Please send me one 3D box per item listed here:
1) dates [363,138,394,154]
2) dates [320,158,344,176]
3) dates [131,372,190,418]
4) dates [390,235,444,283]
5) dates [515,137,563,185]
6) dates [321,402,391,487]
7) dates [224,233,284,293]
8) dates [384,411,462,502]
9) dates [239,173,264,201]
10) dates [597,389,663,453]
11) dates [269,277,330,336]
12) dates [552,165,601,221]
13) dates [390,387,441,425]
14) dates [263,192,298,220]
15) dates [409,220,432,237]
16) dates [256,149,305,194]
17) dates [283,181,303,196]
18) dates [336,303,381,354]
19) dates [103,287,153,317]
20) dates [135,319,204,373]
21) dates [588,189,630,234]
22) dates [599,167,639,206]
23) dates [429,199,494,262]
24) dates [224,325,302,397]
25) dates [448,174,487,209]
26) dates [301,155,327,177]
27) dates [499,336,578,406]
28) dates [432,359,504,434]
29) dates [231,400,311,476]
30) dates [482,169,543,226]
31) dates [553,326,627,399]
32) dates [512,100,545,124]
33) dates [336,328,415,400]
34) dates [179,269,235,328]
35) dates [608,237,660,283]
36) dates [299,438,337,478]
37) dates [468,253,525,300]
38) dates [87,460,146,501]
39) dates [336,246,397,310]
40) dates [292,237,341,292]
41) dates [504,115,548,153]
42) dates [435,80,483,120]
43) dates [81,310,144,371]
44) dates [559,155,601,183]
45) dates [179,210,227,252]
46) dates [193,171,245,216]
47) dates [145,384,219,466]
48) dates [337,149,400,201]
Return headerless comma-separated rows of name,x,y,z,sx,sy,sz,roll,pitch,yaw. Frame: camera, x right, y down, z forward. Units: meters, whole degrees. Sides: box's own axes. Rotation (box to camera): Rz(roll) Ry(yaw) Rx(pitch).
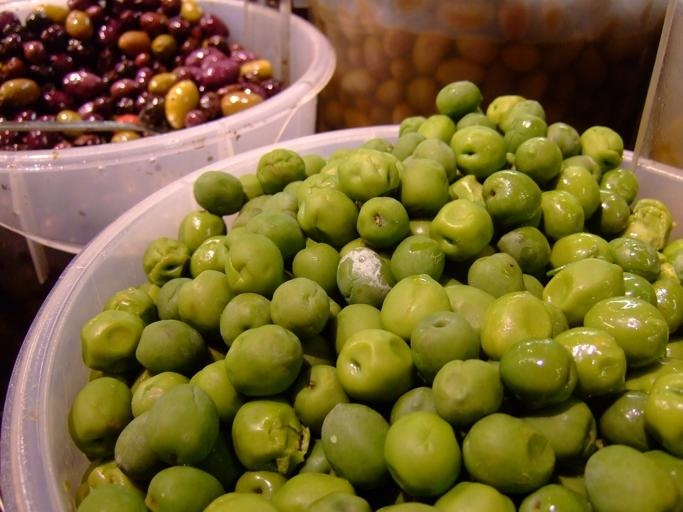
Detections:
dates,0.104,-0.316,1.866,0.050,0.046,0.072,1,0,30
dates,-0.027,-0.247,1.809,0.054,0.030,0.060,-17,29,30
dates,-0.425,0.304,1.502,0.097,0.118,0.103,-26,25,-21
dates,0.188,-0.010,1.583,0.095,0.135,0.107,10,32,42
dates,0.539,-0.274,1.785,0.109,0.137,0.109,18,36,29
dates,0.046,0.412,1.395,0.112,0.138,0.165,3,23,-8
dates,-0.203,0.036,1.537,0.115,0.132,0.186,-6,84,24
dates,0.176,0.428,1.353,0.149,0.179,0.153,-12,35,-12
dates,-0.263,-0.202,1.866,0.061,0.088,0.067,-17,0,5
dates,0.610,0.358,1.376,0.096,0.104,0.112,-16,75,3
dates,-0.092,0.117,1.509,0.113,0.128,0.131,-2,72,6
dates,0.663,-0.186,1.833,0.118,0.167,0.125,-7,5,35
dates,0.150,0.321,1.377,0.069,0.091,0.085,-4,74,24
dates,-0.162,-0.142,1.729,0.063,0.044,0.077,-1,36,10
dates,0.203,-0.072,1.652,0.037,0.042,0.040,-6,-4,30
dates,-0.171,-0.242,1.884,0.113,0.118,0.129,14,69,46
dates,-0.135,-0.187,1.790,0.048,0.030,0.042,-19,19,-8
dates,0.030,0.158,1.495,0.091,0.131,0.100,4,2,33
dates,-0.535,0.103,1.621,0.074,0.054,0.081,22,35,17
dates,-0.397,0.214,1.486,0.128,0.112,0.116,4,63,-8
dates,0.754,-0.103,1.796,0.066,0.137,0.090,6,-10,-39
dates,0.817,-0.208,1.928,0.090,0.127,0.098,-14,-2,-36
dates,0.292,-0.041,1.614,0.131,0.141,0.152,1,76,-36
dates,-0.178,0.240,1.488,0.155,0.195,0.231,-3,13,-1
dates,0.342,-0.176,1.732,0.077,0.046,0.085,-24,54,-19
dates,-0.082,-0.270,1.905,0.061,0.066,0.068,11,48,27
dates,0.408,0.237,1.375,0.111,0.131,0.142,-6,23,-41
dates,0.263,0.295,1.373,0.128,0.160,0.142,-2,84,-4
dates,-0.154,0.387,1.444,0.131,0.175,0.155,-3,4,9
dates,0.438,-0.140,1.692,0.134,0.158,0.133,-29,67,19
dates,0.563,0.240,1.440,0.138,0.157,0.187,-19,-3,24
dates,0.578,-0.428,1.952,0.068,0.081,0.084,3,34,17
dates,0.074,0.241,1.415,0.167,0.105,0.120,-1,48,2
dates,-0.323,0.107,1.529,0.115,0.137,0.115,-17,-2,27
dates,0.768,0.003,1.715,0.123,0.077,0.097,36,45,28
dates,-0.052,0.439,1.399,0.053,0.063,0.061,-8,11,24
dates,0.373,0.051,1.593,0.103,0.104,0.114,-39,94,-39
dates,-0.511,0.492,1.460,0.079,0.101,0.087,-16,22,6
dates,0.054,0.053,1.543,0.100,0.086,0.159,-1,71,-7
dates,-0.058,0.030,1.619,0.101,0.136,0.111,-24,17,-8
dates,0.520,-0.349,1.840,0.094,0.057,0.120,-10,58,46
dates,0.367,-0.474,1.987,0.118,0.106,0.104,-12,36,4
dates,-0.550,0.200,1.576,0.145,0.111,0.119,-31,83,-36
dates,0.693,-0.249,1.856,0.093,0.070,0.076,3,3,-17
dates,-0.387,-0.074,1.822,0.100,0.145,0.107,5,2,18
dates,-0.340,-0.171,1.830,0.103,0.134,0.110,-45,54,21
dates,-0.335,0.356,1.348,0.116,0.127,0.177,7,65,-15
dates,0.074,-0.216,1.656,0.127,0.101,0.132,-31,41,-14
